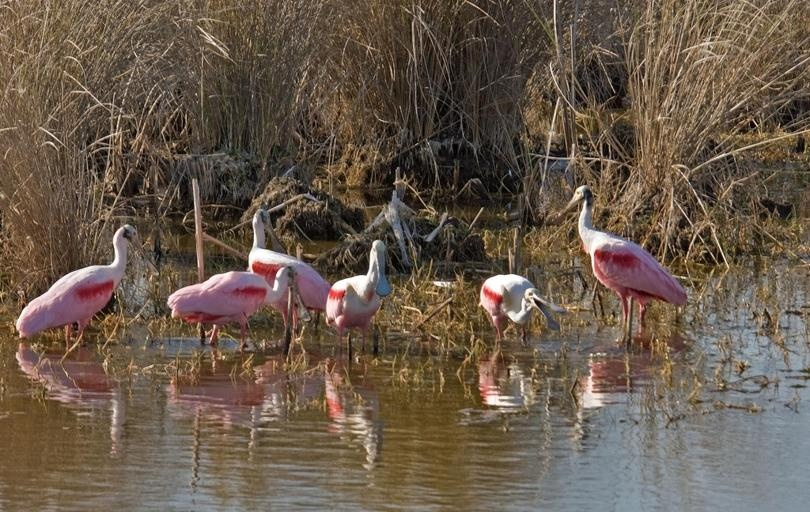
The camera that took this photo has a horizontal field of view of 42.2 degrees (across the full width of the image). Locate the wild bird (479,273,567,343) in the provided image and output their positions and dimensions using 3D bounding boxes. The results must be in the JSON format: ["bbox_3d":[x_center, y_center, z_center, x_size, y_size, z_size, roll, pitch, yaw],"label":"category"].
[{"bbox_3d":[1.485,0.598,13.912,0.531,0.835,1.544,-8,14,-24],"label":"wild bird"}]

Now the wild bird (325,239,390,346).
[{"bbox_3d":[-0.622,0.453,13.509,0.783,1.277,0.657,0,9,-5],"label":"wild bird"}]
